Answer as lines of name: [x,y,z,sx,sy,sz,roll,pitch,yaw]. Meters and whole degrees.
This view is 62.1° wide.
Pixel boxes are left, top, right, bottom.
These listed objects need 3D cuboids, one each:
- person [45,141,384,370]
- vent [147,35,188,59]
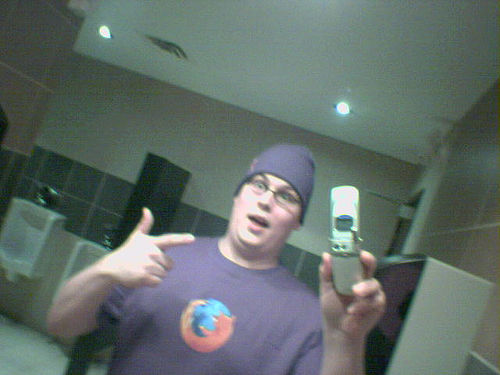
person: [-0.075,0.217,1.313,0.571,0.834,0.309,21,-2,4]
vent: [-0.300,-0.514,1.530,0.191,0.048,0.032,30,-17,19]
